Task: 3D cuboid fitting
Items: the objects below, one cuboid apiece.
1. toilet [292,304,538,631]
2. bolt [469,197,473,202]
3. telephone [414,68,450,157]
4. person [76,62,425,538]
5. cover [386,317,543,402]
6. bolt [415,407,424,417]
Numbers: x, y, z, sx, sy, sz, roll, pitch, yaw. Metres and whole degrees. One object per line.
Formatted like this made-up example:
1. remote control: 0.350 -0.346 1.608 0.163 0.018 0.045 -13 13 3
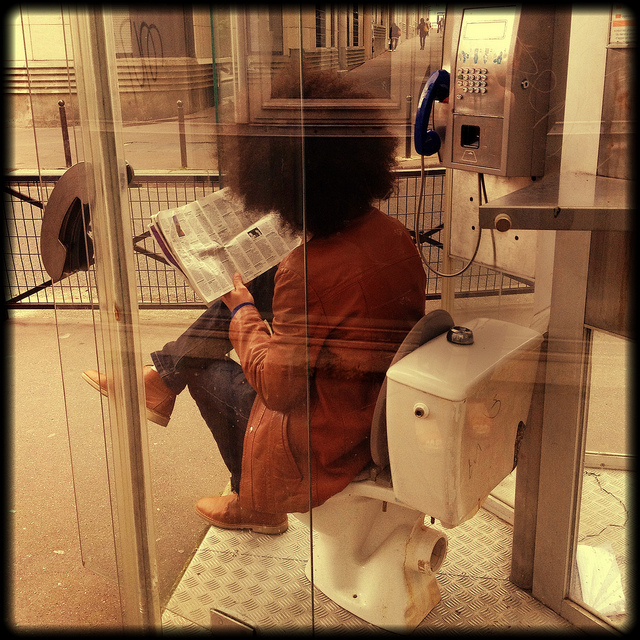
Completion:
1. toilet: 0.152 0.296 1.316 0.496 0.718 0.345 14 22 39
2. bolt: 0.262 -0.210 1.055 0.006 0.008 0.002 -1 -2 16
3. telephone: 0.179 -0.348 1.020 0.054 0.123 0.065 11 26 17
4. person: -0.158 0.019 1.306 0.627 1.054 0.416 14 22 13
5. cover: 0.274 0.083 1.151 0.164 0.084 0.300 5 23 44
6. bolt: 0.180 0.166 1.102 0.013 0.016 0.014 21 34 0
